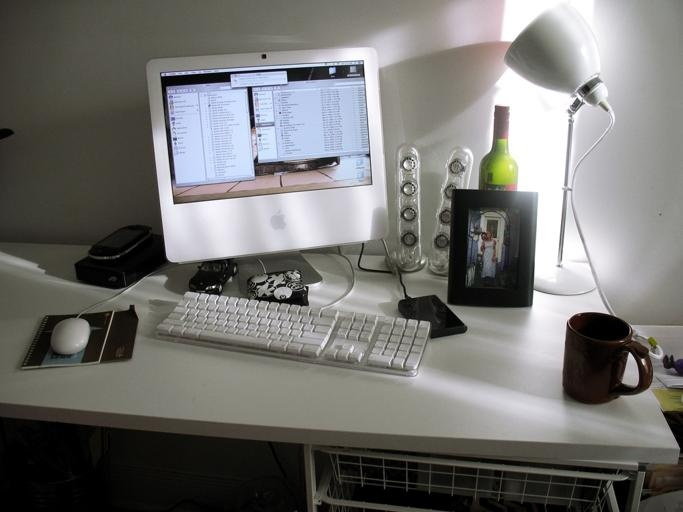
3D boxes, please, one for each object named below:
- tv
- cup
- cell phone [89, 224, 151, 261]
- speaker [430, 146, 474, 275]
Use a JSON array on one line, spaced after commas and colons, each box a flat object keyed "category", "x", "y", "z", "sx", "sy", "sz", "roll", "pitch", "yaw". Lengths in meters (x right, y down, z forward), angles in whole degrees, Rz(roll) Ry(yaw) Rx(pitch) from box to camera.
[{"category": "tv", "x": -0.181, "y": -0.228, "z": 1.353, "sx": 0.538, "sy": 0.476, "sz": 0.213, "roll": -6, "pitch": 31, "yaw": 0}, {"category": "cup", "x": 0.495, "y": 0.171, "z": 1.047, "sx": 0.116, "sy": 0.156, "sz": 0.201, "roll": -14, "pitch": 10, "yaw": -27}, {"category": "cell phone", "x": -0.609, "y": -0.061, "z": 1.478, "sx": 0.080, "sy": 0.034, "sz": 0.145, "roll": 4, "pitch": 28, "yaw": 16}, {"category": "speaker", "x": 0.287, "y": -0.132, "z": 1.452, "sx": 0.079, "sy": 0.403, "sz": 0.082, "roll": 7, "pitch": 1, "yaw": 19}]
